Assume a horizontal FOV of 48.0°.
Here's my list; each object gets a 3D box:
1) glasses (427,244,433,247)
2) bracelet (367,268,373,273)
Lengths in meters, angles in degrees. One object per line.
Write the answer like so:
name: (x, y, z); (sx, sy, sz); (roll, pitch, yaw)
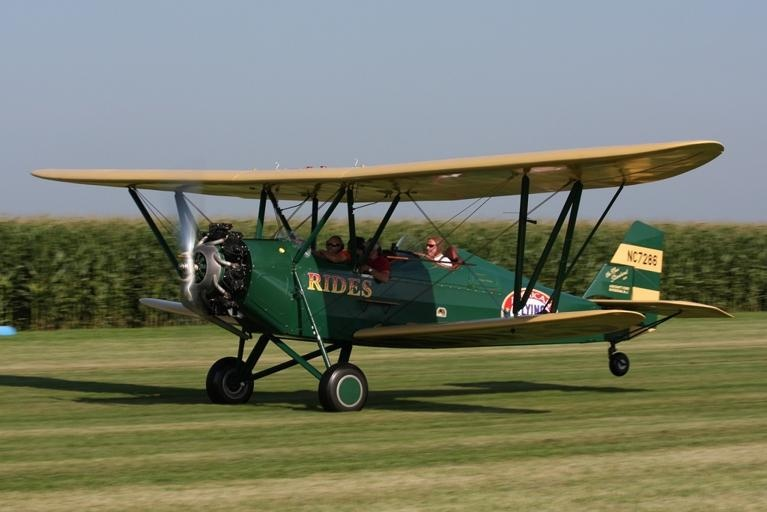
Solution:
glasses: (0.677, -0.127, 12.320); (0.059, 0.028, 0.015); (4, 10, 17)
bracelet: (-0.178, 0.207, 11.693); (0.106, 0.054, 0.018); (2, -44, -1)
